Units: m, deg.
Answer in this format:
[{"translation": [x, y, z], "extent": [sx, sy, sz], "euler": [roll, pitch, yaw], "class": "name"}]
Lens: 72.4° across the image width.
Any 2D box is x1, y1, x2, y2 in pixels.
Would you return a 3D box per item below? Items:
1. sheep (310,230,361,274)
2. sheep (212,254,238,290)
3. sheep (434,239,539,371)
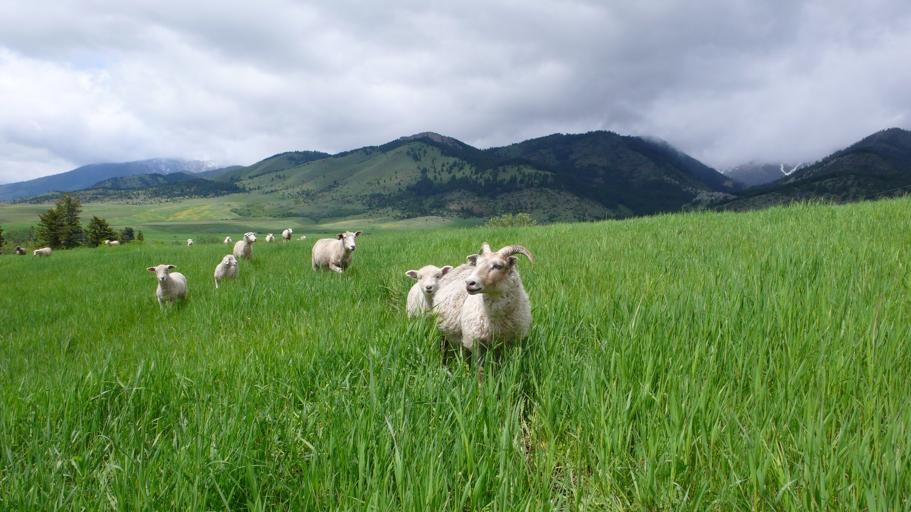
[{"translation": [-3.814, 0.049, 19.597], "extent": [0.854, 1.353, 2.445], "euler": [1, -5, -41], "class": "sheep"}, {"translation": [-6.785, 0.373, 18.273], "extent": [0.644, 0.721, 1.123], "euler": [-10, 12, -15], "class": "sheep"}, {"translation": [0.537, 0.944, 11.406], "extent": [1.641, 2.282, 3.153], "euler": [-2, -2, -14], "class": "sheep"}]
